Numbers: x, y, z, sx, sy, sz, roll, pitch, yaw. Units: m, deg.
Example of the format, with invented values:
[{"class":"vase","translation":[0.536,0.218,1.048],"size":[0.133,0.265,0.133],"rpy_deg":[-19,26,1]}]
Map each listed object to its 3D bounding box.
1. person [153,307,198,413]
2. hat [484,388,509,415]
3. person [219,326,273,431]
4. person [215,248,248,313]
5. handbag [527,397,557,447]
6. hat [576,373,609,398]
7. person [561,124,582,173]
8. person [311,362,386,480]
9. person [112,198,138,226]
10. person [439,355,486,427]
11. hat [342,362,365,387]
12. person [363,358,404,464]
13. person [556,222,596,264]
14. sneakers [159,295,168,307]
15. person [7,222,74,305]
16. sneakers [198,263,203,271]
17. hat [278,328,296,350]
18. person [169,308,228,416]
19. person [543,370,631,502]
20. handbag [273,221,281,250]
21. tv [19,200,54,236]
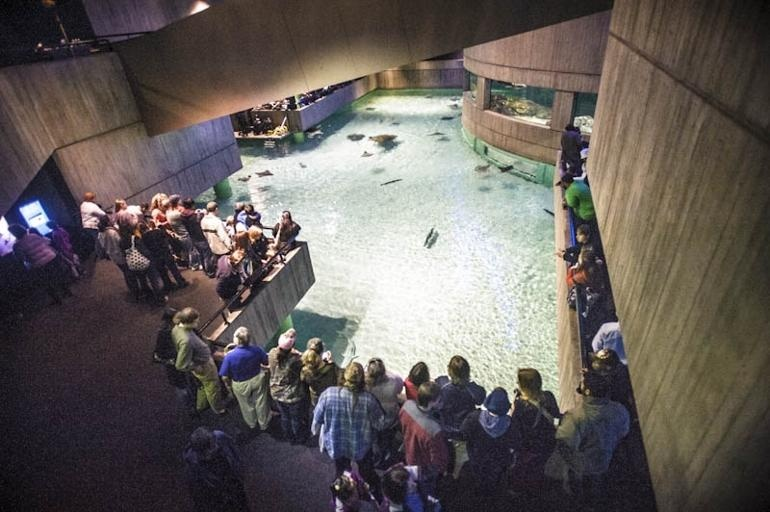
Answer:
[{"class":"person","translation":[-3.040,1.569,6.485],"size":[0.582,1.555,0.593],"rpy_deg":[41,50,16]},{"class":"hat","translation":[1.345,1.725,5.305],"size":[0.296,0.335,0.209],"rpy_deg":[4,29,11]},{"class":"person","translation":[-2.018,1.793,6.492],"size":[0.648,1.686,0.538],"rpy_deg":[-13,25,-25]},{"class":"person","translation":[-2.607,0.453,7.616],"size":[0.362,0.418,1.005],"rpy_deg":[-22,-10,-23]},{"class":"handbag","translation":[1.944,1.995,5.458],"size":[0.424,0.596,0.577],"rpy_deg":[-5,-16,21]},{"class":"hat","translation":[2.439,1.475,5.194],"size":[0.273,0.328,0.313],"rpy_deg":[1,-4,-27]},{"class":"person","translation":[3.759,-2.047,8.887],"size":[0.431,0.840,0.800],"rpy_deg":[10,31,22]},{"class":"person","translation":[-0.463,2.315,5.939],"size":[0.930,1.923,0.646],"rpy_deg":[1,18,1]},{"class":"person","translation":[-4.590,-0.711,7.856],"size":[0.336,0.344,1.025],"rpy_deg":[-19,32,-28]},{"class":"person","translation":[1.052,2.068,6.168],"size":[0.677,1.520,0.610],"rpy_deg":[-2,21,10]},{"class":"hat","translation":[-0.380,1.475,5.526],"size":[0.279,0.403,0.263],"rpy_deg":[-5,29,-5]},{"class":"person","translation":[-0.011,2.130,6.032],"size":[0.495,1.579,0.405],"rpy_deg":[1,23,7]},{"class":"person","translation":[3.387,-0.233,7.799],"size":[0.530,0.324,0.833],"rpy_deg":[0,-24,25]},{"class":"sneakers","translation":[-3.980,0.796,7.999],"size":[0.078,0.152,0.229],"rpy_deg":[4,38,-5]},{"class":"person","translation":[-6.058,0.115,7.840],"size":[0.566,1.457,0.680],"rpy_deg":[-24,35,-34]},{"class":"sneakers","translation":[-3.754,0.225,9.064],"size":[0.068,0.056,0.170],"rpy_deg":[10,4,-33]},{"class":"hat","translation":[-1.309,1.167,6.102],"size":[0.246,0.333,0.129],"rpy_deg":[8,-2,13]},{"class":"person","translation":[-2.773,1.523,6.539],"size":[0.522,1.705,0.588],"rpy_deg":[-11,30,-15]},{"class":"person","translation":[2.406,2.164,5.226],"size":[0.666,1.706,0.631],"rpy_deg":[16,34,31]},{"class":"handbag","translation":[-2.199,-0.415,9.060],"size":[0.181,0.568,0.228],"rpy_deg":[5,1,-7]},{"class":"tv","translation":[-6.991,-0.749,8.869],"size":[0.391,0.374,0.693],"rpy_deg":[-9,18,-12]}]
